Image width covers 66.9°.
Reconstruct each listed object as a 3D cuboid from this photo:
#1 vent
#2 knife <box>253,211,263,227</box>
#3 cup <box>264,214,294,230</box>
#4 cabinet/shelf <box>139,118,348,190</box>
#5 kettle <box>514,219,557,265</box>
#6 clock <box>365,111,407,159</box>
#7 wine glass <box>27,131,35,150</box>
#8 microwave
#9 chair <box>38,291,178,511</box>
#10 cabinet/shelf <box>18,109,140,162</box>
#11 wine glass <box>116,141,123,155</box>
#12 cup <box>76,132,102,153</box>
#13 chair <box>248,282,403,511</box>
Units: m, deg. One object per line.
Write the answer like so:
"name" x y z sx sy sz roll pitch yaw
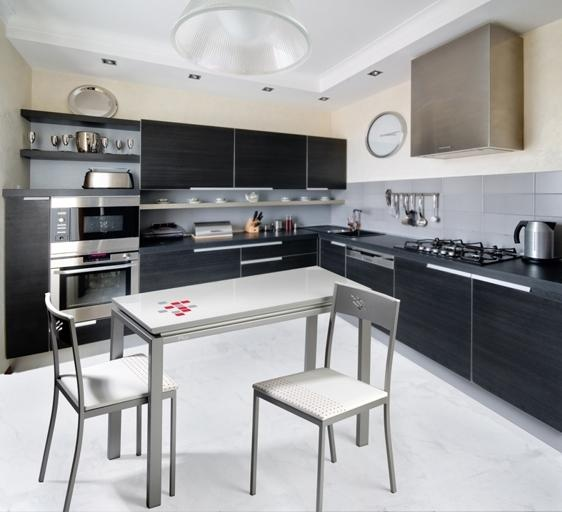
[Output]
"vent" 1.449 -1.246 3.437 0.417 0.864 0.826 -7 10 -26
"knife" -0.289 -0.445 5.127 0.079 0.039 0.216 25 -28 6
"cup" -0.011 -0.404 5.301 0.266 0.122 0.212 -2 5 -18
"cabinet/shelf" -0.336 -1.074 4.668 2.351 0.665 0.237 -5 9 -25
"kettle" 1.784 -0.102 2.963 0.196 0.350 0.313 -3 3 -42
"clock" 1.132 -1.319 4.639 0.075 0.483 0.638 -4 9 -23
"wine glass" -2.214 -1.052 3.792 0.071 0.178 0.310 -5 10 -29
"microwave" -1.756 -0.273 3.848 0.490 0.672 0.882 12 11 33
"chair" -1.017 0.604 2.745 0.917 1.737 0.814 -4 9 -32
"cabinet/shelf" -1.797 -1.069 4.145 0.332 0.482 1.263 25 21 25
"wine glass" -1.601 -1.082 4.214 0.081 0.148 0.085 1 3 -26
"cup" -1.779 -1.060 3.946 0.226 0.213 0.182 -6 10 -34
"chair" 0.222 0.709 2.164 0.662 1.017 0.575 -8 11 -43
